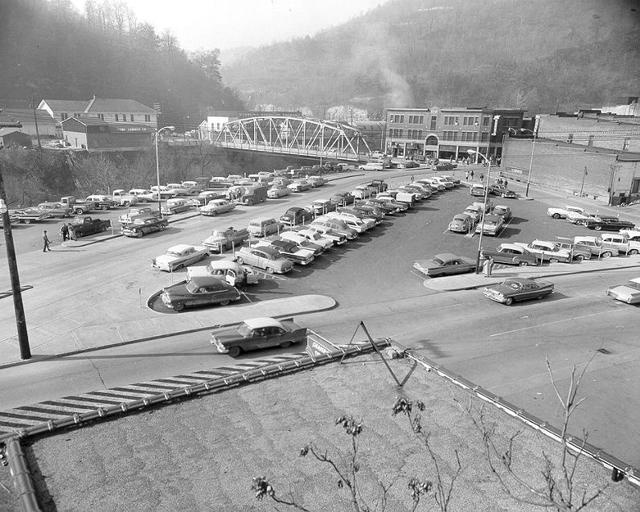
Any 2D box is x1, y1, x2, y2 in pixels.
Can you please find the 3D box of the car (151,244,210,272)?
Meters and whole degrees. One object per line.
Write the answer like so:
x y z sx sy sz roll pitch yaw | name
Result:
-11.167 0.096 41.895 1.844 1.230 4.079 8 24 30 | car

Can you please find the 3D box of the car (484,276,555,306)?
14.268 2.273 35.969 4.348 1.153 2.068 -10 14 -24 | car

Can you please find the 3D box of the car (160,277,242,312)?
-7.737 2.460 33.458 4.423 1.912 1.426 -9 15 -23 | car
